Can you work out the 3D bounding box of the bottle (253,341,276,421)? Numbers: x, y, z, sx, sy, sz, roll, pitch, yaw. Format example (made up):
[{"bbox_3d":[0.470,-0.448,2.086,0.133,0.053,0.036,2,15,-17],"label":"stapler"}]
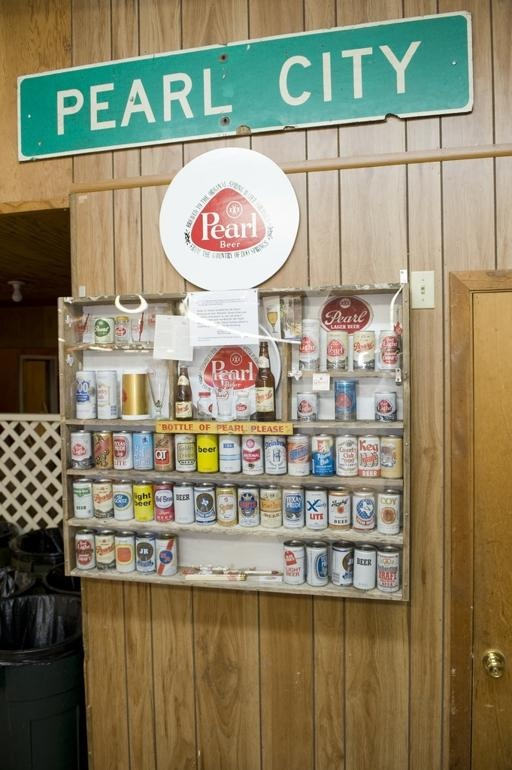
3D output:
[{"bbox_3d":[0.024,-0.014,2.281,0.054,0.222,0.047,-1,5,2],"label":"bottle"}]

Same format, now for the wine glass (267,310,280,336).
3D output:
[{"bbox_3d":[0.048,-0.179,2.282,0.042,0.078,0.028,-1,6,7],"label":"wine glass"}]
